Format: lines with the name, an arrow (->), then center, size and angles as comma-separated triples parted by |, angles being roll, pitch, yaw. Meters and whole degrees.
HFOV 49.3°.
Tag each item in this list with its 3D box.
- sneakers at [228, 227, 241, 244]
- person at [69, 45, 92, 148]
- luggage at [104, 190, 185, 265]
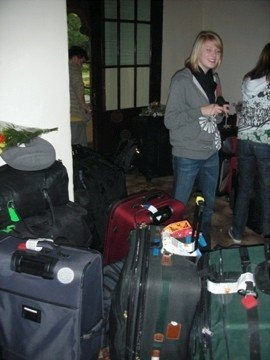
sneakers -> 0.782, 0.434, 2.333 | 0.050, 0.049, 0.135 | -13, 46, -7
person -> -0.572, -0.869, 3.049 | 0.207, 1.053, 0.512 | -3, 12, -6
luggage -> 0.035, 0.205, 1.233 | 0.246, 0.317, 0.174 | -23, 46, -35
